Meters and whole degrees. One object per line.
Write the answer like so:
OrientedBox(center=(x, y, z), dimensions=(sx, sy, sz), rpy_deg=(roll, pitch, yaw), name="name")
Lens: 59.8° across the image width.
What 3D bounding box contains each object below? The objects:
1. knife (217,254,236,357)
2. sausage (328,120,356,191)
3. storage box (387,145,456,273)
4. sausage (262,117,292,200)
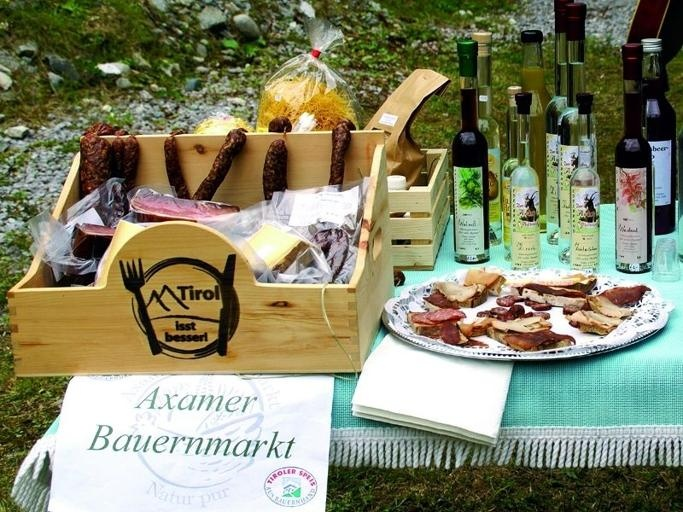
OrientedBox(center=(-0.231, 0.103, 1.224), dimensions=(0.056, 0.272, 0.025), rpy_deg=(-18, 43, -34), name="knife")
OrientedBox(center=(0.001, -0.269, 1.614), dimensions=(0.052, 0.186, 0.052), rpy_deg=(12, -10, 1), name="sausage")
OrientedBox(center=(0.226, -0.129, 1.717), dimensions=(0.216, 0.180, 0.388), rpy_deg=(-3, 38, 13), name="storage box")
OrientedBox(center=(-0.169, -0.261, 1.637), dimensions=(0.065, 0.235, 0.074), rpy_deg=(7, -7, 8), name="sausage")
